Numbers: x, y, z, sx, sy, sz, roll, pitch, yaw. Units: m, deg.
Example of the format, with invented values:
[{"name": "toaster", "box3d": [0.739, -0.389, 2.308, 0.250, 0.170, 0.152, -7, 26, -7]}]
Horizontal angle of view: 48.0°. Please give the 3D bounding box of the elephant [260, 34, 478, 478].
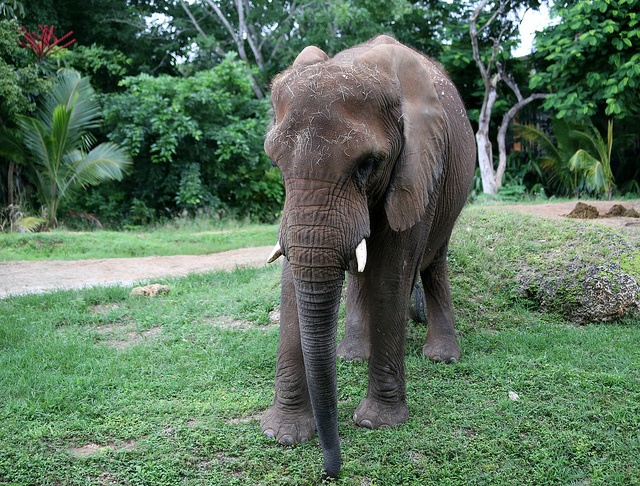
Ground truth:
[{"name": "elephant", "box3d": [0.645, -0.205, 8.235, 1.771, 4.113, 4.484, 6, 16, 22]}]
